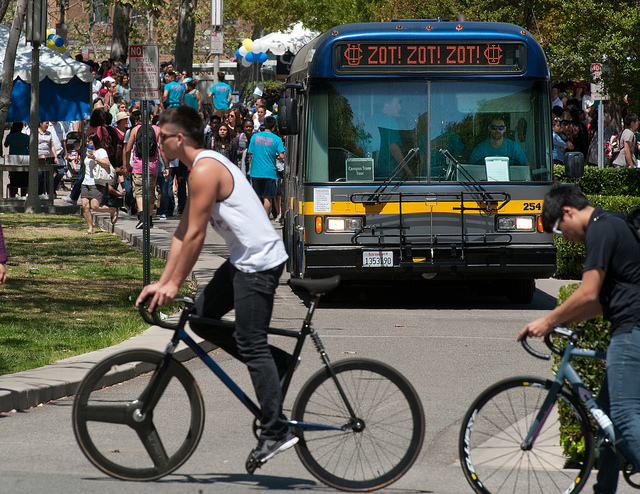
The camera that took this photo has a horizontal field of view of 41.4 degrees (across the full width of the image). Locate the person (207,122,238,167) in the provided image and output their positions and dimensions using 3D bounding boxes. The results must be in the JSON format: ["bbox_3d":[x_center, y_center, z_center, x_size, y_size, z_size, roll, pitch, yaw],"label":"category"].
[{"bbox_3d":[-2.279,-2.235,20.658,0.686,1.654,0.398,1,23,4],"label":"person"}]

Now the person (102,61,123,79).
[{"bbox_3d":[-6.432,-5.546,26.405,0.583,0.593,1.325,0,3,-15],"label":"person"}]

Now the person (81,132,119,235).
[{"bbox_3d":[-4.420,-1.243,17.030,0.686,1.981,0.851,-5,-8,41],"label":"person"}]

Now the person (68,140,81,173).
[{"bbox_3d":[-7.424,-2.772,25.708,0.330,0.994,0.997,0,3,-17],"label":"person"}]

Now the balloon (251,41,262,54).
[{"bbox_3d":[-2.886,-9.251,39.131,0.438,0.515,0.555,7,-21,5],"label":"balloon"}]

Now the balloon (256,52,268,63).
[{"bbox_3d":[-2.711,-8.955,40.046,0.391,0.449,0.477,-10,-3,-15],"label":"balloon"}]

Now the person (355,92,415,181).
[{"bbox_3d":[0.840,-1.403,11.156,0.808,1.721,0.418,7,13,31],"label":"person"}]

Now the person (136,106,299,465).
[{"bbox_3d":[-0.575,0.223,5.296,0.923,2.194,0.417,1,2,-3],"label":"person"}]

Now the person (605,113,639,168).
[{"bbox_3d":[7.306,-2.519,20.497,0.579,1.294,2.880,2,3,18],"label":"person"}]

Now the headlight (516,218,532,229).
[{"bbox_3d":[2.696,-0.309,11.272,0.136,0.162,0.035,1,-2,-1],"label":"headlight"}]

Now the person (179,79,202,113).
[{"bbox_3d":[-3.680,-4.038,24.228,0.610,1.586,0.470,3,8,11],"label":"person"}]

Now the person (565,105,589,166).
[{"bbox_3d":[6.650,-2.970,21.902,0.599,1.564,2.864,2,3,17],"label":"person"}]

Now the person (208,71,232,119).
[{"bbox_3d":[-3.389,-5.074,29.299,0.695,2.293,0.735,2,40,-5],"label":"person"}]

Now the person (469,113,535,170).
[{"bbox_3d":[2.339,-1.367,11.262,0.859,0.812,0.519,-2,11,7],"label":"person"}]

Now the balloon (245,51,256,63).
[{"bbox_3d":[-3.224,-8.861,39.767,0.405,0.480,0.516,0,-28,-4],"label":"balloon"}]

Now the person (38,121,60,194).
[{"bbox_3d":[-7.595,-2.935,23.792,0.452,1.149,0.488,0,2,-13],"label":"person"}]

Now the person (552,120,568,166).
[{"bbox_3d":[5.412,-2.258,19.276,0.373,1.341,0.403,-1,32,17],"label":"person"}]

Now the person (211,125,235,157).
[{"bbox_3d":[-2.327,-2.245,20.412,0.586,1.368,0.328,3,-23,-14],"label":"person"}]

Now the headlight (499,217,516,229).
[{"bbox_3d":[2.478,-0.315,11.194,0.186,0.148,0.045,1,2,-6],"label":"headlight"}]

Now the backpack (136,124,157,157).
[{"bbox_3d":[-3.477,-2.107,17.096,0.391,0.711,0.375,-4,-16,-9],"label":"backpack"}]

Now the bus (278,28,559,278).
[{"bbox_3d":[1.651,-3.471,14.679,3.617,3.764,8.728,0,34,5],"label":"bus"}]
